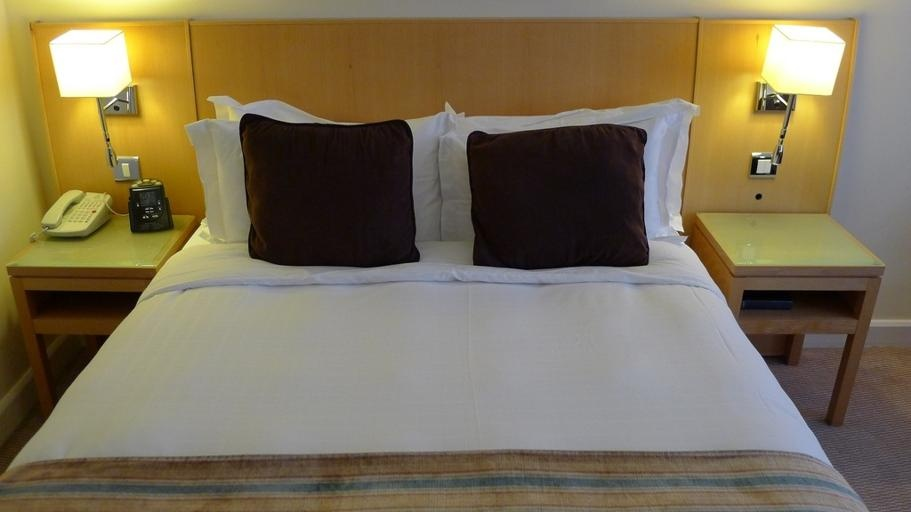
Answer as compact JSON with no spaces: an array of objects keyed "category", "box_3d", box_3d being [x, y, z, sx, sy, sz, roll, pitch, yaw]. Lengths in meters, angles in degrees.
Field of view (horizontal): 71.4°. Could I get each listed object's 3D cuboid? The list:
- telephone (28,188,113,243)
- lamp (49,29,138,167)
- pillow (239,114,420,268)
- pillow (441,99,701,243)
[{"category":"telephone","box_3d":[-2.155,-0.241,3.606,0.284,0.146,0.367,4,41,3]},{"category":"lamp","box_3d":[-2.025,-0.855,3.642,0.330,0.686,0.276,-3,18,-6]},{"category":"pillow","box_3d":[-0.644,-0.313,3.224,0.823,0.676,0.305,-1,4,1]},{"category":"pillow","box_3d":[0.528,-0.302,3.304,0.963,0.722,0.337,-2,17,8]}]
